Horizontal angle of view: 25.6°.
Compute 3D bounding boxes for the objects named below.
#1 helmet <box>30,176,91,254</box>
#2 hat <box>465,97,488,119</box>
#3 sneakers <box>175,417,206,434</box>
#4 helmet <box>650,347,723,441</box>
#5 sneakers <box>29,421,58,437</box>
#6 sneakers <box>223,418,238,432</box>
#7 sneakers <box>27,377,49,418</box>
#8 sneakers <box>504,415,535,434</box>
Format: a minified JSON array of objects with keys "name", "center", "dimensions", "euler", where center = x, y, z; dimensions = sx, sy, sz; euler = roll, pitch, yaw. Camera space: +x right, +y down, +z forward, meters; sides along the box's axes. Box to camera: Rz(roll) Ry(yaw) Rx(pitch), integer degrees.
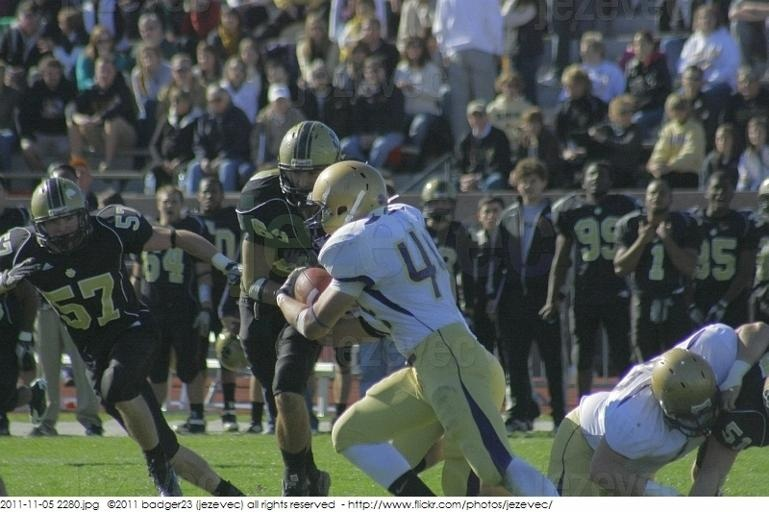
[{"name":"helmet","center":[-2.192,-0.270,11.475],"dimensions":[0.390,0.461,0.511],"euler":[-15,38,2]},{"name":"hat","center":[0.705,-1.142,13.051],"dimensions":[0.111,0.129,0.143],"euler":[0,-25,-41]},{"name":"sneakers","center":[-1.460,1.243,12.467],"dimensions":[0.266,0.111,0.094],"euler":[5,-7,9]},{"name":"helmet","center":[1.969,0.886,11.205],"dimensions":[0.421,0.551,0.488],"euler":[-29,-16,4]},{"name":"sneakers","center":[-2.506,1.273,12.378],"dimensions":[0.148,0.107,0.141],"euler":[-14,-7,25]},{"name":"sneakers","center":[-1.141,1.246,12.454],"dimensions":[0.057,0.068,0.164],"euler":[3,-11,-25]},{"name":"sneakers","center":[-2.502,1.021,12.175],"dimensions":[0.115,0.292,0.128],"euler":[-3,19,-14]},{"name":"sneakers","center":[0.973,1.215,12.274],"dimensions":[0.186,0.058,0.108],"euler":[2,32,-3]}]
